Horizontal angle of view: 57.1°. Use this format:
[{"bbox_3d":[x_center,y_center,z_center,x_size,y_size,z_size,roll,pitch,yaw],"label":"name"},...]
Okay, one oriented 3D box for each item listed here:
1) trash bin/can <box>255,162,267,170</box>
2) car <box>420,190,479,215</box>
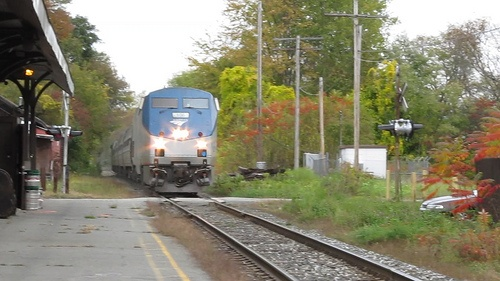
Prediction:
[{"bbox_3d":[0.740,1.930,36.121,0.678,0.395,0.649,-5,-7,39],"label":"trash bin/can"},{"bbox_3d":[8.058,2.492,18.659,2.082,0.534,0.839,1,-6,0],"label":"car"}]
